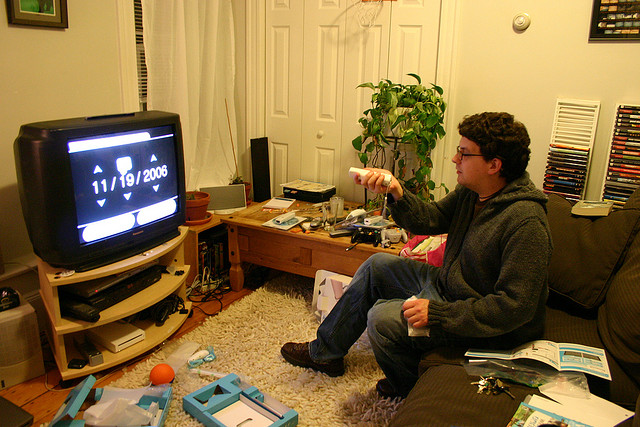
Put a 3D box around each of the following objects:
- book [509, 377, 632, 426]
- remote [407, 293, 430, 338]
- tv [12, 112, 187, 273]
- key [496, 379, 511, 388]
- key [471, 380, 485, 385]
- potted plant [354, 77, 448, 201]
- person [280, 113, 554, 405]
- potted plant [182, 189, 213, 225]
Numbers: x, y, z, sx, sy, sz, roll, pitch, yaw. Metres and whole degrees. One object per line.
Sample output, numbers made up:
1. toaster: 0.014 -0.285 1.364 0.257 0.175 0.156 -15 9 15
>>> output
1. book: 1.056 0.799 1.943 0.237 0.024 0.203 -18 21 -29
2. remote: 0.490 0.505 2.277 0.157 0.167 0.050 7 -1 24
3. tv: -1.343 -0.195 2.900 0.529 0.877 0.994 12 22 26
4. key: 0.804 0.751 2.056 0.037 0.009 0.029 18 26 33
5. key: 0.705 0.748 2.070 0.055 0.015 0.022 5 19 12
6. potted plant: 0.566 -0.488 3.522 0.614 0.820 0.532 1 6 7
7. person: 0.489 0.247 2.548 1.351 1.512 0.977 11 13 24
8. potted plant: -0.919 -0.046 3.435 0.220 0.180 0.224 2 10 16
